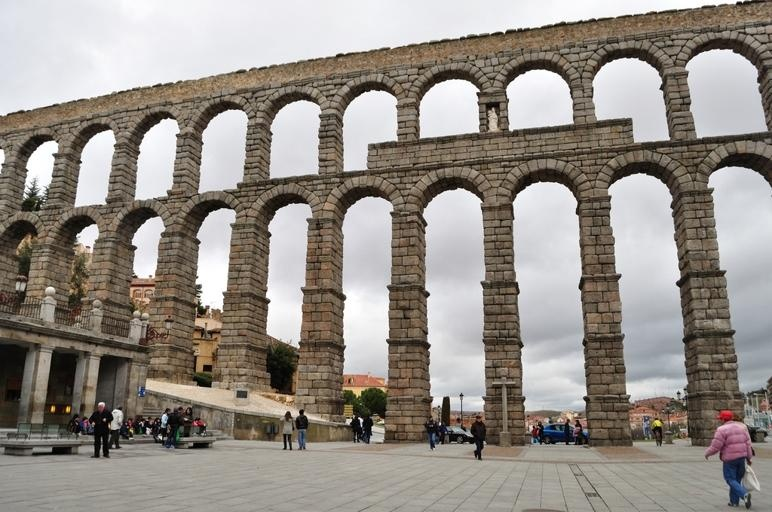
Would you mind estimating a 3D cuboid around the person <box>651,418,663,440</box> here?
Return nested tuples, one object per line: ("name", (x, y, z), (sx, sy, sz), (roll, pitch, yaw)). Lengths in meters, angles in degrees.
("person", (14.484, 9.185, 34.784), (0.446, 1.216, 2.053), (-8, -21, 18))

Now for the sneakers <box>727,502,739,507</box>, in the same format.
("sneakers", (9.113, 6.498, 17.142), (0.088, 0.080, 0.194), (3, -7, -7))

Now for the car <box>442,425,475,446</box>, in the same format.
("car", (4.262, 10.437, 38.098), (2.206, 0.729, 1.452), (-3, -13, 9))

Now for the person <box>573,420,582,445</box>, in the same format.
("person", (10.425, 9.489, 35.344), (0.453, 1.362, 1.653), (-6, -21, 15))
